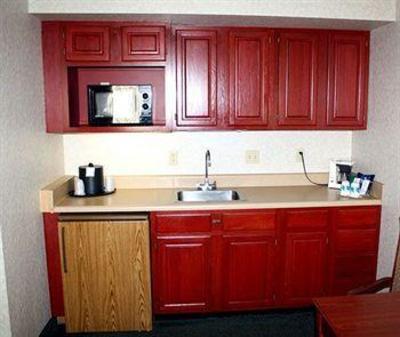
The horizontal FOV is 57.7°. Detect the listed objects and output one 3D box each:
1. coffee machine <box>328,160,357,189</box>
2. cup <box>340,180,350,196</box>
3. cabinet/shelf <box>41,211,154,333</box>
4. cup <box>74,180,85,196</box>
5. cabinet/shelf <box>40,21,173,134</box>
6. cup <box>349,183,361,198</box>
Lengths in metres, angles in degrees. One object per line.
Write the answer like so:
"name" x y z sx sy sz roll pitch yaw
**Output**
"coffee machine" 1.178 0.047 3.099 0.257 0.285 0.198 1 10 16
"cup" 1.166 0.159 2.932 0.072 0.117 0.093 0 9 14
"cabinet/shelf" -0.692 0.807 3.053 0.945 1.217 0.873 1 -1 -6
"cup" -0.973 0.148 2.899 0.115 0.129 0.055 4 11 36
"cabinet/shelf" -0.753 -0.727 2.838 0.898 0.735 0.301 -1 5 -9
"cup" 1.218 0.172 2.873 0.070 0.116 0.062 1 9 18
